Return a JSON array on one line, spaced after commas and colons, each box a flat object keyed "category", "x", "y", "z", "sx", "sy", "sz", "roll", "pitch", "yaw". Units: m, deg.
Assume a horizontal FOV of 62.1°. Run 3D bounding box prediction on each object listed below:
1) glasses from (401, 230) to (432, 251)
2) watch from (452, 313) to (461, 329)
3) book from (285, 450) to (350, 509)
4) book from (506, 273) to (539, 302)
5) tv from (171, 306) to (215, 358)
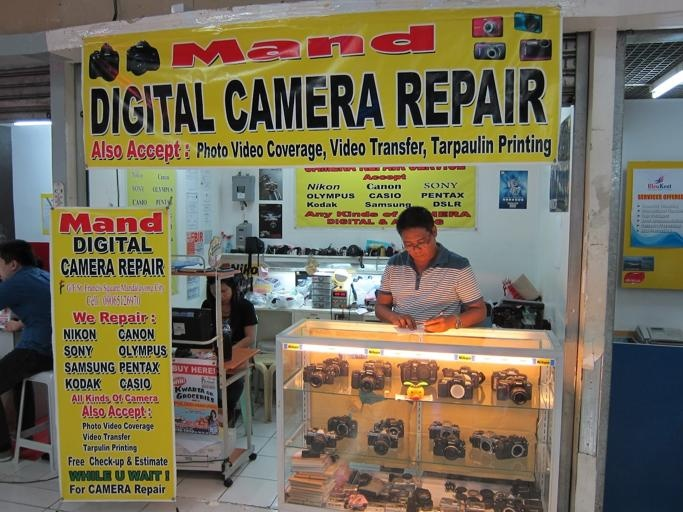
[{"category": "glasses", "x": 0.539, "y": -0.100, "z": 4.089, "sx": 0.133, "sy": 0.084, "sz": 0.174, "roll": -4, "pitch": -23, "yaw": 12}, {"category": "watch", "x": 0.805, "y": 0.459, "z": 3.996, "sx": 0.057, "sy": 0.093, "sz": 0.090, "roll": -6, "pitch": 5, "yaw": -23}, {"category": "book", "x": -0.154, "y": 1.527, "z": 3.775, "sx": 0.387, "sy": 0.339, "sz": 0.139, "roll": 0, "pitch": -2, "yaw": 9}, {"category": "book", "x": 2.008, "y": 0.355, "z": 6.286, "sx": 0.342, "sy": 0.253, "sz": 0.145, "roll": 32, "pitch": 34, "yaw": 13}, {"category": "tv", "x": -1.217, "y": 0.628, "z": 4.576, "sx": 0.461, "sy": 0.435, "sz": 0.178, "roll": 0, "pitch": 1, "yaw": 3}]
